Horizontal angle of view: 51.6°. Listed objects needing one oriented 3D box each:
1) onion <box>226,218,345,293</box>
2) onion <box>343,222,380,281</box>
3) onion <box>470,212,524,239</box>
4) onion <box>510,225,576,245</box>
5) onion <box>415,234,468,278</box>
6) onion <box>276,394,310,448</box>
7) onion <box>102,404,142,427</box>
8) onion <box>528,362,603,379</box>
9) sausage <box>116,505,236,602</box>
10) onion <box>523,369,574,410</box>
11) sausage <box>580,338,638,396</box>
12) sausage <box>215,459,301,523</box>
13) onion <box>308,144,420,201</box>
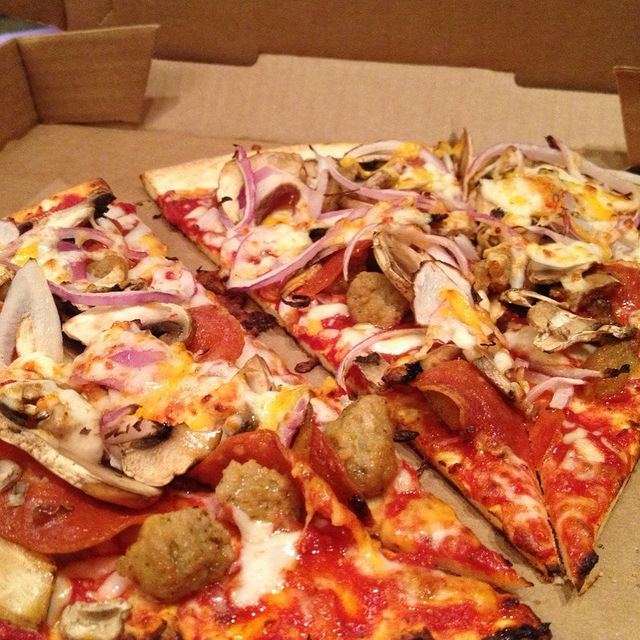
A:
[{"bbox_3d":[-0.058,-0.133,1.675,0.265,0.047,0.183,-32,35,-10],"label":"onion"},{"bbox_3d":[0.114,-0.178,1.593,0.039,0.038,0.256,-29,20,38],"label":"onion"},{"bbox_3d":[0.442,-0.237,1.651,0.025,0.032,0.233,-13,25,-36],"label":"onion"},{"bbox_3d":[0.549,-0.210,1.645,0.153,0.018,0.047,20,66,8],"label":"onion"},{"bbox_3d":[0.293,-0.158,1.609,0.103,0.034,0.120,-35,82,-3],"label":"onion"},{"bbox_3d":[-0.041,0.173,1.113,0.021,0.049,0.078,31,71,18],"label":"onion"},{"bbox_3d":[-0.347,0.167,1.159,0.053,0.011,0.032,-23,36,-37],"label":"onion"},{"bbox_3d":[0.500,0.105,1.359,0.158,0.036,0.018,7,80,25],"label":"onion"},{"bbox_3d":[-0.216,0.335,0.961,0.053,0.197,0.127,-31,67,31],"label":"sausage"},{"bbox_3d":[0.464,0.141,1.347,0.097,0.072,0.026,18,9,13],"label":"onion"},{"bbox_3d":[0.601,0.093,1.356,0.101,0.034,0.140,34,73,30],"label":"sausage"},{"bbox_3d":[-0.123,0.264,1.064,0.183,0.091,0.058,0,21,-28],"label":"sausage"},{"bbox_3d":[0.117,-0.381,1.793,0.225,0.049,0.124,32,37,3],"label":"onion"}]
